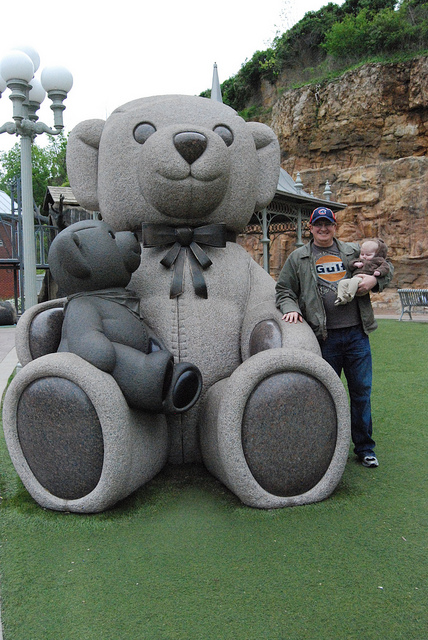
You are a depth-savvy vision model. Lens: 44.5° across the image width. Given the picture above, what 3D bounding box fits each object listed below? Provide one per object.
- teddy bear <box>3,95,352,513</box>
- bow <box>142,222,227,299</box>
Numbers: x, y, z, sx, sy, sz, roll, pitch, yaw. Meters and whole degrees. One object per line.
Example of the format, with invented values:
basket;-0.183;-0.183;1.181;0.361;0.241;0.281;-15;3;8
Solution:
teddy bear;-0.255;-0.219;2.640;1.483;2.112;1.202;-2;3;-19
bow;-0.178;-0.319;2.855;0.424;0.421;0.072;0;-9;-9
